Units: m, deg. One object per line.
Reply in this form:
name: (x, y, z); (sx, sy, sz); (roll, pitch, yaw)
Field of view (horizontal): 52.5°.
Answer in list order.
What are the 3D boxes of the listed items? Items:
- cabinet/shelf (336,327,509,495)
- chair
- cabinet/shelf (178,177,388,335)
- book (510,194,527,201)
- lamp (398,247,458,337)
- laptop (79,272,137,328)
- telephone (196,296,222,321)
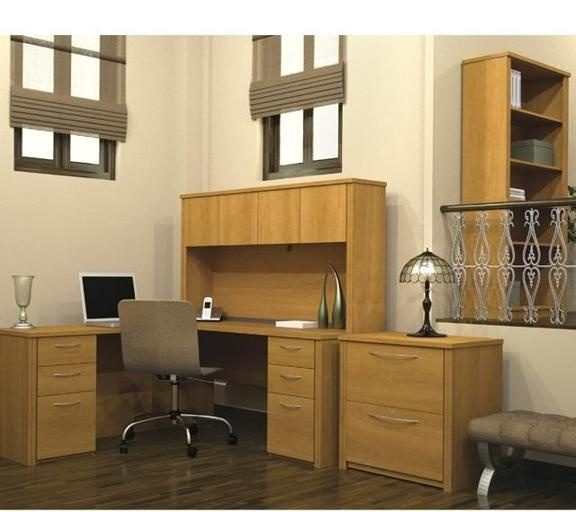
cabinet/shelf: (0.757, 0.920, 3.570); (0.805, 0.788, 0.480); (-5, -8, 45)
chair: (-0.795, 0.819, 4.174); (0.763, 1.034, 0.744); (0, -3, 15)
cabinet/shelf: (-0.103, -0.002, 4.538); (1.607, 1.051, 0.455); (1, 2, 33)
book: (1.674, -0.425, 4.266); (0.089, 0.022, 0.091); (3, -2, -14)
lamp: (0.917, 0.241, 3.836); (0.352, 0.549, 0.363); (0, -3, 17)
laptop: (-1.342, 0.339, 4.619); (0.467, 0.392, 0.382); (-1, 2, 20)
telephone: (-0.640, 0.439, 4.848); (0.203, 0.232, 0.186); (-1, -6, 3)
